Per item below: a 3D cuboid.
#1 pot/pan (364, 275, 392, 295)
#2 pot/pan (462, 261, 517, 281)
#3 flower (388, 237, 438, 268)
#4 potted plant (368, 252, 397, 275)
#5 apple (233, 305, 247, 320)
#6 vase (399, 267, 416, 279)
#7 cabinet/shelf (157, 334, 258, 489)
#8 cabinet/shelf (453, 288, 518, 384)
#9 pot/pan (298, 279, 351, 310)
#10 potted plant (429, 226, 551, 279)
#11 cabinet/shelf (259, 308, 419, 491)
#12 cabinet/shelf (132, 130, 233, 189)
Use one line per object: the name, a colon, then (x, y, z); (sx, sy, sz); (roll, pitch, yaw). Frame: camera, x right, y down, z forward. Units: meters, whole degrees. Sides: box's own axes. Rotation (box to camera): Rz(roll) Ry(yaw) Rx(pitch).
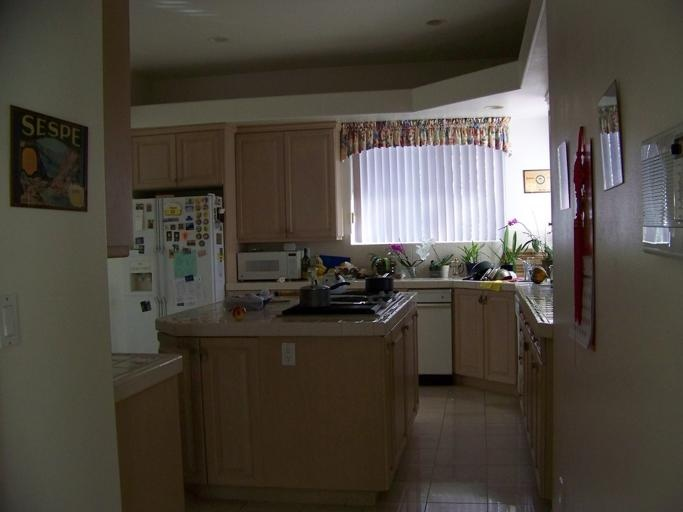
pot/pan: (0.258, 0.192, 3.777); (0.137, 0.102, 0.112); (-1, -2, 26)
pot/pan: (1.472, 0.151, 5.301); (0.327, 0.160, 0.251); (-1, 2, -4)
flower: (0.786, -0.029, 5.937); (0.328, 0.210, 0.351); (-2, -4, 21)
potted plant: (0.462, 0.078, 5.900); (0.293, 0.223, 0.253); (-1, 2, 3)
apple: (-0.570, 0.316, 3.130); (0.061, 0.086, 0.071); (2, -10, 5)
vase: (0.714, 0.165, 5.871); (0.131, 0.153, 0.118); (0, 5, 2)
cabinet/shelf: (-0.645, 0.887, 3.317); (0.671, 1.112, 0.678); (-1, -5, 5)
cabinet/shelf: (1.455, 0.720, 5.353); (0.672, 0.977, 0.686); (-1, 6, 12)
pot/pan: (-0.092, 0.221, 3.249); (0.269, 0.151, 0.149); (0, -2, -20)
potted plant: (1.628, -0.028, 5.607); (0.939, 0.465, 0.562); (-3, 3, 8)
cabinet/shelf: (0.066, 0.828, 3.672); (0.760, 0.967, 1.494); (-2, -1, 14)
cabinet/shelf: (-1.723, -0.975, 5.886); (0.944, 0.654, 0.510); (-5, -13, -6)
